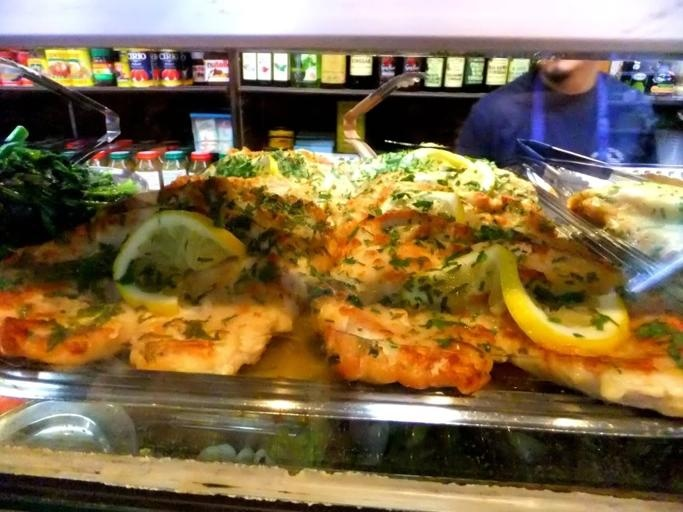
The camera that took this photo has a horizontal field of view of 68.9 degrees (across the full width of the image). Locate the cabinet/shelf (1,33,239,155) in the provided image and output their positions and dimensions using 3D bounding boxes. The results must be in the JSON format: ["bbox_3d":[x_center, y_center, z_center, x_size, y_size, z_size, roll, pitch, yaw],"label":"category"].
[{"bbox_3d":[-1.114,-1.110,3.478,0.330,0.676,0.900,19,23,24],"label":"cabinet/shelf"}]

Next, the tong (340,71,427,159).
[{"bbox_3d":[0.176,-0.557,1.937,0.218,0.349,0.089,27,70,1],"label":"tong"}]
